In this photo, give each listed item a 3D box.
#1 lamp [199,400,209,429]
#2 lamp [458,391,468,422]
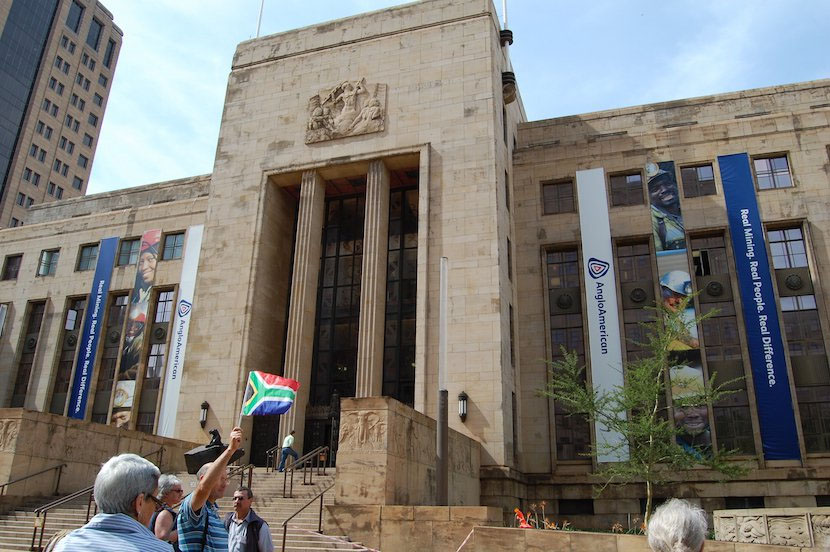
[{"bbox_3d":[-10.573,6.958,30.606,0.412,1.361,0.388,-17,-28,33],"label":"lamp"},{"bbox_3d":[2.231,5.942,27.836,0.475,1.300,0.484,-2,-23,3],"label":"lamp"}]
